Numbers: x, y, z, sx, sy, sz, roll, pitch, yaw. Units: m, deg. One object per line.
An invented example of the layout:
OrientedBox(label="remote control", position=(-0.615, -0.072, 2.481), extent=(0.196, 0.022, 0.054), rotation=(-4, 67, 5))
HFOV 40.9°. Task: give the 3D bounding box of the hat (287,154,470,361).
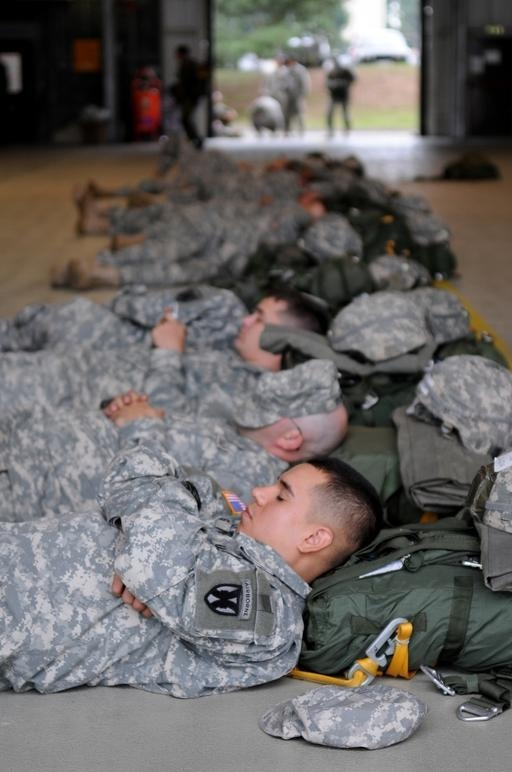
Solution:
OrientedBox(label="hat", position=(0.508, -0.523, 2.821), extent=(0.695, 0.817, 0.271), rotation=(-39, 1, -19))

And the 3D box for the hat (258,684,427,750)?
OrientedBox(label="hat", position=(0.169, 0.591, 1.228), extent=(0.153, 0.032, 0.127), rotation=(-3, 2, -5))

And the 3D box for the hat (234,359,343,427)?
OrientedBox(label="hat", position=(0.116, 0.056, 2.370), extent=(0.318, 0.112, 0.230), rotation=(-11, 21, 10))

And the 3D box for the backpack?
OrientedBox(label="backpack", position=(0.435, 0.382, 1.833), extent=(0.511, 0.183, 0.603), rotation=(-3, 43, 20))
